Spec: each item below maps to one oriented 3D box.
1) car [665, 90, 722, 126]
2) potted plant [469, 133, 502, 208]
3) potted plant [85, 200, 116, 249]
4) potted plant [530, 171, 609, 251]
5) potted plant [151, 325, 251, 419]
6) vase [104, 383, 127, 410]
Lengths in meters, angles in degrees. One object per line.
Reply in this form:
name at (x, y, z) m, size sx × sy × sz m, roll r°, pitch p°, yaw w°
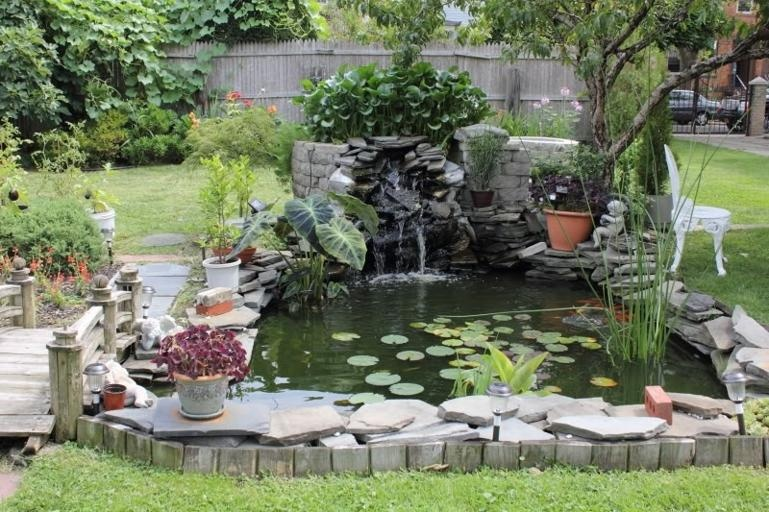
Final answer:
car at (9.598, -4.713, 22.738) m, size 1.361 × 1.204 × 3.003 m, roll 3°, pitch 8°, yaw 24°
potted plant at (1.366, -1.172, 9.868) m, size 0.471 × 0.998 × 0.223 m, roll 0°, pitch 8°, yaw 5°
potted plant at (-3.320, -0.382, 8.663) m, size 0.540 × 0.531 × 0.513 m, roll -3°, pitch 12°, yaw -18°
potted plant at (2.445, -0.645, 9.569) m, size 1.184 × 1.201 × 1.153 m, roll 1°, pitch 6°, yaw -2°
potted plant at (-1.350, 0.790, 5.558) m, size 0.828 × 0.739 × 0.654 m, roll 0°, pitch 2°, yaw -10°
vase at (-2.101, 1.102, 5.701) m, size 0.181 × 0.135 × 0.167 m, roll -9°, pitch 21°, yaw -34°
